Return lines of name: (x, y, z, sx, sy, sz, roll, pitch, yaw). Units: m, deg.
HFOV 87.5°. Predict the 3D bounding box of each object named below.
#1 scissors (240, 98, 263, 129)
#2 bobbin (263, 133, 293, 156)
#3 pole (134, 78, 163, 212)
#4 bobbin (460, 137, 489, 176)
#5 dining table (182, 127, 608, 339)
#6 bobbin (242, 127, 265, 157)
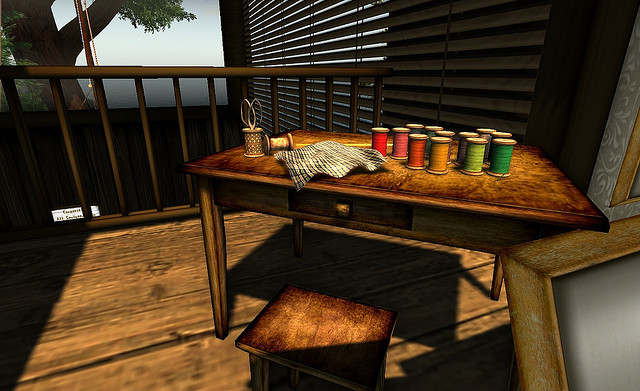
scissors: (-0.365, -0.430, 1.786, 0.166, 0.165, 0.029, 12, 24, 35)
bobbin: (-0.199, -0.259, 1.641, 0.172, 0.084, 0.100, -2, 16, -10)
pole: (-1.271, -0.354, 2.488, 0.125, 0.974, 0.244, -14, 25, -22)
bobbin: (0.649, -0.168, 1.468, 0.149, 0.130, 0.123, 5, 5, 6)
dining table: (0.301, 0.194, 1.846, 1.533, 0.668, 1.007, 9, 16, 21)
bobbin: (-0.364, -0.261, 1.670, 0.151, 0.120, 0.120, -1, 15, -1)
